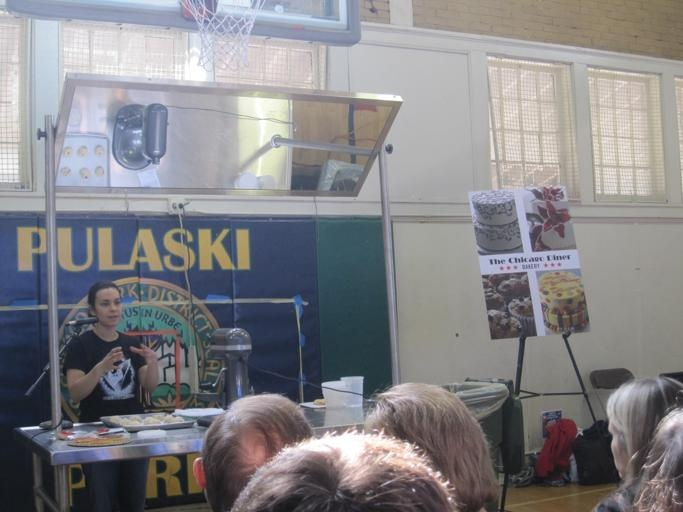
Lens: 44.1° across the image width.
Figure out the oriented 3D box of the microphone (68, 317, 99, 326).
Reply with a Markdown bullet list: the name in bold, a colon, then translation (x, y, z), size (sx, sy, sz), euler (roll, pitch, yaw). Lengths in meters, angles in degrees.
- **microphone**: translation (-1.604, 0.405, 5.212), size (0.106, 0.030, 0.106), euler (-4, -4, 4)

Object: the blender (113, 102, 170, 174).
- **blender**: translation (-1.144, -0.662, 4.745), size (0.303, 0.308, 0.339), euler (-1, -4, -15)

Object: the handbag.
- **handbag**: translation (1.854, 1.563, 6.684), size (0.475, 0.591, 0.287), euler (-4, -9, 32)

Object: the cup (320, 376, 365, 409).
- **cup**: translation (-0.002, 0.839, 5.163), size (0.210, 0.160, 0.168), euler (-4, -6, 27)

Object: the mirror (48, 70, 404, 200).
- **mirror**: translation (-0.703, -0.668, 4.915), size (1.888, 0.555, 0.665), euler (-1, -4, -15)

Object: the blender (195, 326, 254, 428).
- **blender**: translation (-0.711, 0.741, 4.947), size (0.486, 0.613, 0.371), euler (-11, -14, 42)

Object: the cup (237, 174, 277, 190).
- **cup**: translation (-0.534, -0.447, 5.156), size (0.201, 0.129, 0.128), euler (3, -9, 31)
